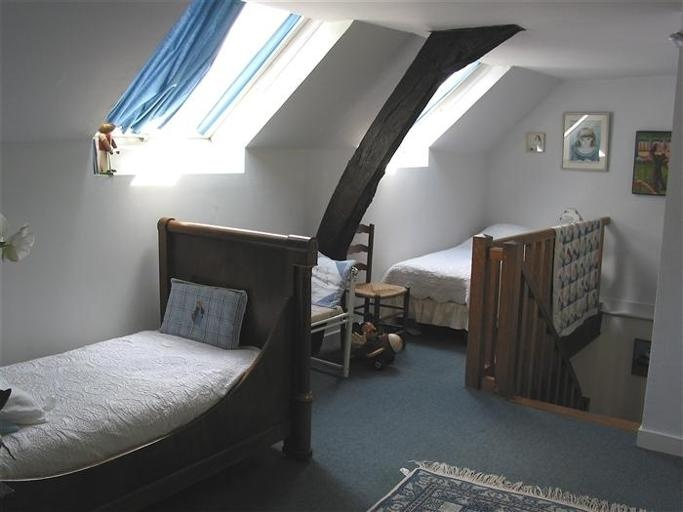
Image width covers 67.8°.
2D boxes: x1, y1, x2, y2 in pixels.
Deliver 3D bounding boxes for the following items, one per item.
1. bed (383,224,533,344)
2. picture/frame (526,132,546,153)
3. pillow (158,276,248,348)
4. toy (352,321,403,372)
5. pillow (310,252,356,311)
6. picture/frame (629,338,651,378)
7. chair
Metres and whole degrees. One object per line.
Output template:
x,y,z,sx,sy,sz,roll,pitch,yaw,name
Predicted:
1.185,0.174,5.168,0.869,0.656,1.524,7,13,39,bed
2.355,-1.367,6.099,0.238,0.272,0.027,4,11,38,picture/frame
-0.857,0.359,3.139,0.562,0.360,0.133,7,-9,21,pillow
0.275,0.713,4.121,0.293,0.179,0.394,-29,38,-36,toy
-0.047,0.213,4.002,0.366,0.384,0.113,14,-4,34,pillow
3.260,1.126,5.526,0.157,0.450,0.129,6,13,27,picture/frame
0.297,0.264,4.561,0.507,1.002,0.439,9,12,41,chair
